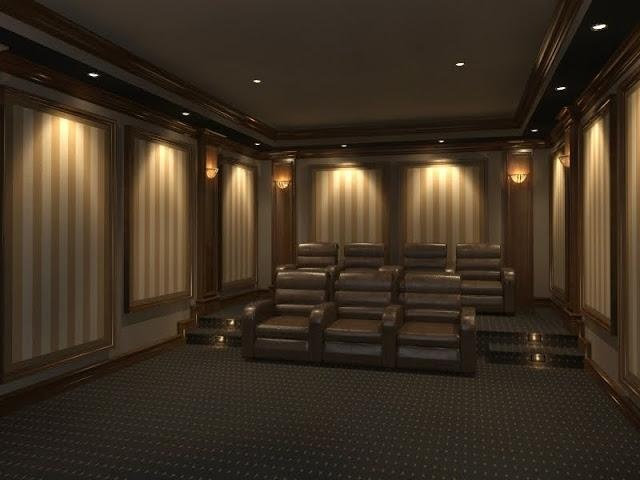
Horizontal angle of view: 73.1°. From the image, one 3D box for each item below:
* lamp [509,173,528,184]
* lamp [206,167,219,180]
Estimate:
[{"bbox_3d":[3.801,-1.187,8.233,0.239,0.090,0.231,-1,0,-8],"label":"lamp"},{"bbox_3d":[-1.856,-1.139,7.397,0.130,0.190,0.337,0,6,5],"label":"lamp"}]
